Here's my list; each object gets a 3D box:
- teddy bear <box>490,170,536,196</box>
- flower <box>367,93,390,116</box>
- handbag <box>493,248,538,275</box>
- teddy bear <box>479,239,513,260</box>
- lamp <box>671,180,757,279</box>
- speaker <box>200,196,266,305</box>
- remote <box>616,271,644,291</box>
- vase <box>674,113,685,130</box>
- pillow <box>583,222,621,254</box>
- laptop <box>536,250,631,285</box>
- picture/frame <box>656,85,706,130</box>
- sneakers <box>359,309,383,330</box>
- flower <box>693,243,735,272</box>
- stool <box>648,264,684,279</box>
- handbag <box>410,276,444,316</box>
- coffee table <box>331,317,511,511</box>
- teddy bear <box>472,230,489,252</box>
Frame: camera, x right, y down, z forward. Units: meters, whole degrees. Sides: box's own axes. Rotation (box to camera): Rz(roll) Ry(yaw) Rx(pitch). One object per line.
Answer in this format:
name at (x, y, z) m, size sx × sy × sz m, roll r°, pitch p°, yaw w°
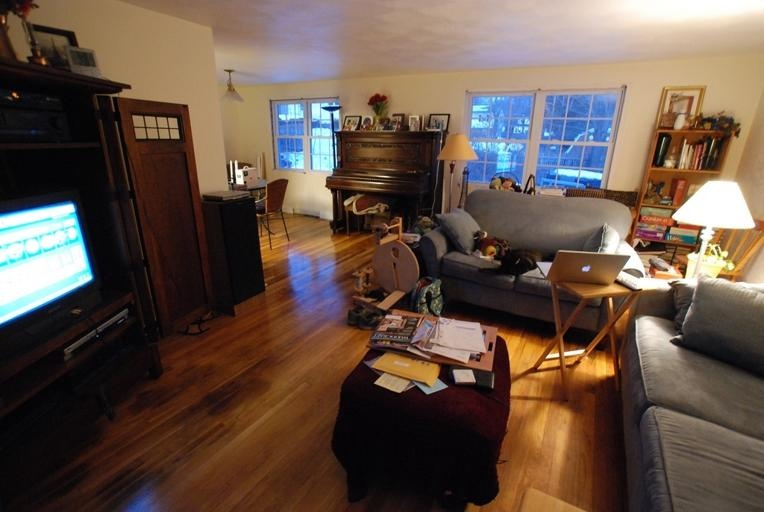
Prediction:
teddy bear at (1.693, -0.911, 6.423) m, size 0.642 × 0.243 × 0.449 m, roll -3°, pitch 11°, yaw -6°
flower at (-0.058, -2.172, 7.272) m, size 0.341 × 0.328 × 0.329 m, roll -7°, pitch 16°, yaw -16°
handbag at (1.277, 0.051, 4.683) m, size 0.230 × 0.129 × 0.319 m, roll 9°, pitch 22°, yaw 44°
teddy bear at (1.098, -0.062, 4.863) m, size 0.190 × 0.103 × 0.244 m, roll -22°, pitch 25°, yaw -1°
lamp at (2.701, -0.187, 4.244) m, size 0.511 × 0.909 × 0.498 m, roll 4°, pitch 20°, yaw 7°
speaker at (-1.505, -0.063, 4.979) m, size 0.389 × 1.077 × 0.517 m, roll 10°, pitch 22°, yaw 23°
remote at (1.909, 0.167, 3.877) m, size 0.172 × 0.038 × 0.155 m, roll -16°, pitch 24°, yaw -36°
vase at (3.365, -1.512, 5.670) m, size 0.103 × 0.173 × 0.170 m, roll 18°, pitch 26°, yaw 39°
pillow at (2.042, -0.160, 4.632) m, size 0.301 × 0.238 × 0.541 m, roll 11°, pitch 22°, yaw 25°
laptop at (1.579, 0.093, 3.848) m, size 0.458 × 0.310 × 0.303 m, roll 8°, pitch -11°, yaw 4°
picture/frame at (3.417, -1.674, 5.693) m, size 0.487 × 0.557 × 0.059 m, roll 11°, pitch 11°, yaw 27°
sneakers at (-0.102, 0.591, 4.695) m, size 0.275 × 0.104 × 0.113 m, roll -22°, pitch 38°, yaw -33°
flower at (3.111, 0.023, 4.691) m, size 0.418 × 0.186 × 0.452 m, roll 1°, pitch 10°, yaw 7°
stool at (2.651, 0.155, 4.712) m, size 0.180 × 0.110 × 0.179 m, roll 2°, pitch 12°, yaw 20°
handbag at (0.443, 0.384, 4.788) m, size 0.381 × 0.353 × 0.266 m, roll -18°, pitch 24°, yaw -41°
coffee table at (0.269, 1.033, 3.361) m, size 0.961 × 0.601 × 0.948 m, roll 7°, pitch 28°, yaw 12°
teddy bear at (0.961, -0.147, 4.998) m, size 0.081 × 0.181 × 0.176 m, roll 5°, pitch -1°, yaw -6°
